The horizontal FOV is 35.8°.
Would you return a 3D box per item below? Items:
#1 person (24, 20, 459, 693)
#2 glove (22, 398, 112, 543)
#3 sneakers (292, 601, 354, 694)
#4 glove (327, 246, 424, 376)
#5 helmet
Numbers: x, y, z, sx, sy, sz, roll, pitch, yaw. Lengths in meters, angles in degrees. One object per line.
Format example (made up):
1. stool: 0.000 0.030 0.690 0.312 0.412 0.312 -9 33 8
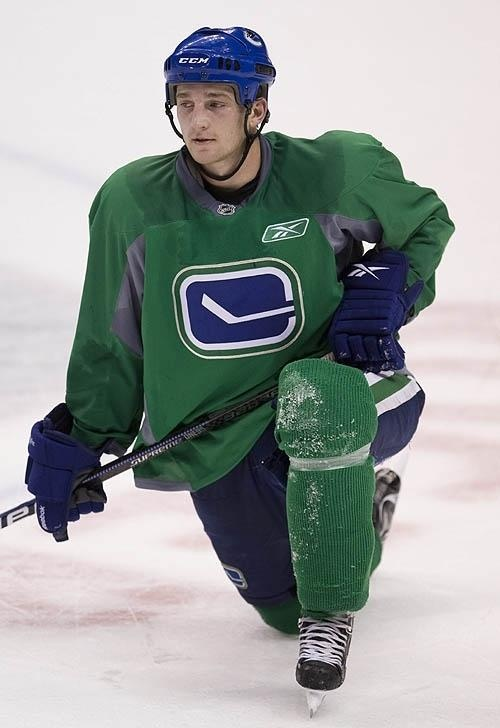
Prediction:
1. person: -0.085 -0.054 1.682 0.881 1.166 0.693 -3 1 25
2. glove: -0.431 0.257 1.877 0.224 0.289 0.132 10 23 7
3. sneakers: 0.128 0.491 1.331 0.096 0.097 0.150 -3 1 7
4. glove: 0.306 -0.110 1.698 0.215 0.263 0.112 4 -24 33
5. helmet: -0.054 -0.639 1.662 0.216 0.145 0.243 13 25 26
